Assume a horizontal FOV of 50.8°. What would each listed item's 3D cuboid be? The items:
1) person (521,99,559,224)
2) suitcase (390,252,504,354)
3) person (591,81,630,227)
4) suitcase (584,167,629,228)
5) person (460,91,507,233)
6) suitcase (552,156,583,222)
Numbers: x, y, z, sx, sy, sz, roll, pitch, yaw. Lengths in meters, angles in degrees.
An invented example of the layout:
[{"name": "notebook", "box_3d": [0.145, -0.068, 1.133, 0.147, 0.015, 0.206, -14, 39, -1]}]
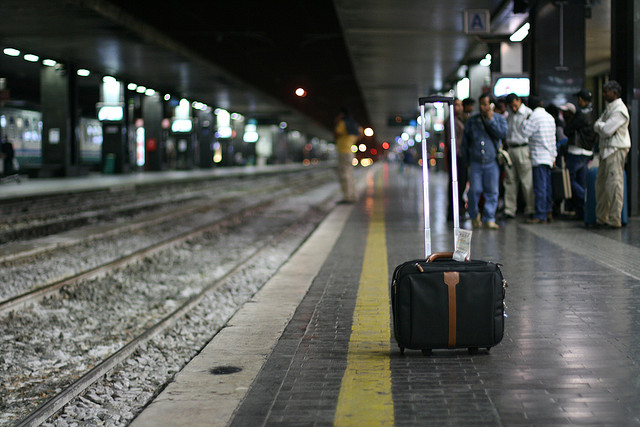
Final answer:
[{"name": "person", "box_3d": [4.494, -1.069, 13.871, 0.622, 2.540, 0.886, 0, 3, 21]}, {"name": "suitcase", "box_3d": [1.241, 0.791, 6.744, 1.121, 1.114, 0.767, 0, 5, 3]}, {"name": "person", "box_3d": [5.330, -1.054, 12.330, 0.519, 2.645, 0.526, 2, 4, 37]}, {"name": "suitcase", "box_3d": [5.599, -0.317, 12.968, 1.025, 1.150, 0.638, -1, 3, -11]}, {"name": "person", "box_3d": [3.175, -1.020, 13.123, 0.854, 2.663, 0.682, 0, 3, 18]}, {"name": "suitcase", "box_3d": [5.195, -0.537, 14.221, 0.451, 1.532, 0.867, -6, 21, 8]}]
